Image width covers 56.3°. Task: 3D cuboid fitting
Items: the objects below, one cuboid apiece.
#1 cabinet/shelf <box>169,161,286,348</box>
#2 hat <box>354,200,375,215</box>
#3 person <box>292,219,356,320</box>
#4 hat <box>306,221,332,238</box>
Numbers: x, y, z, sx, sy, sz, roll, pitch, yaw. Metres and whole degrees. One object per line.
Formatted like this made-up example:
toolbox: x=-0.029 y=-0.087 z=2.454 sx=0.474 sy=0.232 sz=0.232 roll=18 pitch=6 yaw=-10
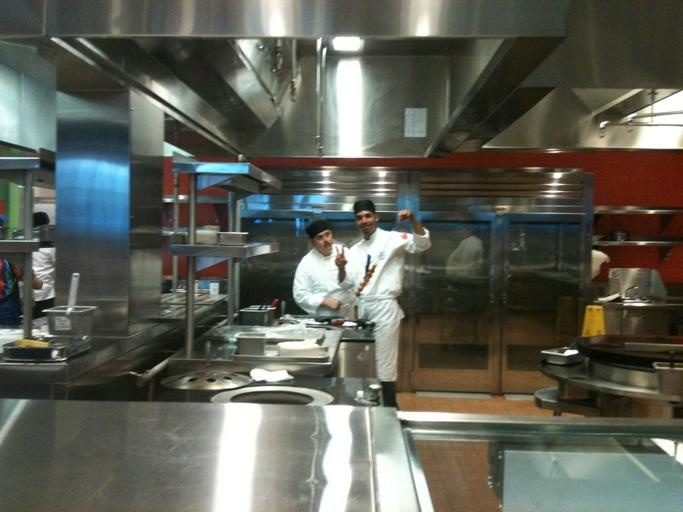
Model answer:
cabinet/shelf: x=-0.717 y=0.008 z=4.211 sx=0.689 sy=1.218 sz=1.680 roll=0 pitch=2 yaw=-3
hat: x=0.196 y=-0.374 z=4.835 sx=0.165 sy=0.074 sz=0.153 roll=5 pitch=-6 yaw=-36
person: x=-0.131 y=0.101 z=4.641 sx=0.431 sy=0.726 sz=0.556 roll=0 pitch=3 yaw=1
hat: x=-0.172 y=-0.193 z=4.705 sx=0.195 sy=0.087 sz=0.168 roll=-3 pitch=2 yaw=31
